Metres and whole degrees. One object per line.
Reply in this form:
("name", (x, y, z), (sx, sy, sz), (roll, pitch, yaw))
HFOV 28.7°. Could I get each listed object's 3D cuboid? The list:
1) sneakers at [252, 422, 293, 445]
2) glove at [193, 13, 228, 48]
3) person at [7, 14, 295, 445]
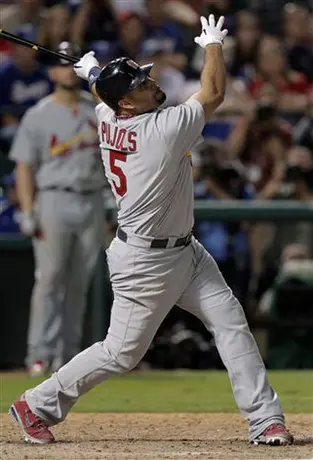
("sneakers", (0.417, 0.730, 2.184), (0.067, 0.138, 0.053), (21, 62, -24))
("glove", (0.208, -0.768, 2.394), (0.153, 0.069, 0.201), (-3, 65, 8))
("person", (-0.063, 0.049, 2.234), (0.926, 1.391, 1.088), (-5, 30, -11))
